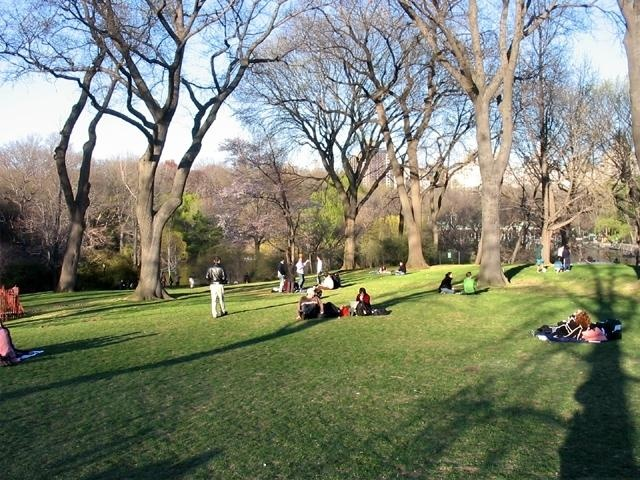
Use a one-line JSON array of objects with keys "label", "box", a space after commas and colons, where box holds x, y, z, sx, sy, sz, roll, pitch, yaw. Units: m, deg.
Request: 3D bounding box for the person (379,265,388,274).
[{"label": "person", "box": [4.855, 2.268, 36.160, 0.439, 0.836, 1.002, 3, 0, 33]}]

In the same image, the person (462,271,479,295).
[{"label": "person", "box": [7.040, 1.994, 21.801, 0.407, 1.064, 0.579, 12, 40, 26]}]

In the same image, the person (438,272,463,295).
[{"label": "person", "box": [6.016, 1.971, 21.586, 0.931, 0.968, 0.884, -2, 4, -7]}]

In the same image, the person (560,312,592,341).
[{"label": "person", "box": [7.067, 2.325, 12.797, 0.886, 0.697, 0.509, -3, 5, -17]}]
